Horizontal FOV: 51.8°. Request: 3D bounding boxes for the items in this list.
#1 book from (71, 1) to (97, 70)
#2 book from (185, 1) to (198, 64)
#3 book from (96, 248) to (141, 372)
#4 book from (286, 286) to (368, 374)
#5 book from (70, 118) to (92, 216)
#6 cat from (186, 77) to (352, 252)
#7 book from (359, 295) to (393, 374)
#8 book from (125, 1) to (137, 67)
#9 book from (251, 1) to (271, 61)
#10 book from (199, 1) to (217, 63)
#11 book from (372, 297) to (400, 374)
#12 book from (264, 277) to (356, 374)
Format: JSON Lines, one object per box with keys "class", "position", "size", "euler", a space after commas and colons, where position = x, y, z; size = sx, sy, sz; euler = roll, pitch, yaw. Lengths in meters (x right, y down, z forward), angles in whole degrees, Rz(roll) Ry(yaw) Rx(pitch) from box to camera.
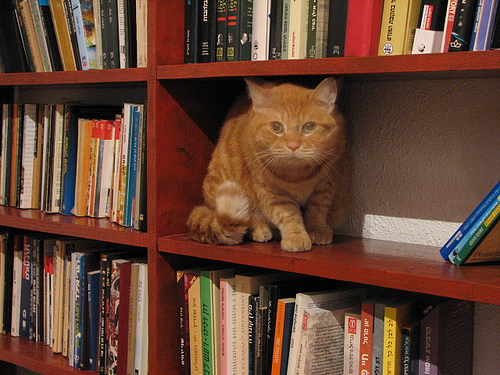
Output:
{"class": "book", "position": [-0.515, -0.467, 1.583], "size": [0.067, 0.201, 0.060], "euler": [-4, 16, -6]}
{"class": "book", "position": [-0.165, -0.432, 1.427], "size": [0.029, 0.136, 0.095], "euler": [3, 6, 7]}
{"class": "book", "position": [-0.392, 0.377, 1.527], "size": [0.146, 0.302, 0.286], "euler": [-2, -11, -2]}
{"class": "book", "position": [0.189, 0.364, 1.273], "size": [0.172, 0.181, 0.030], "euler": [-9, 14, -29]}
{"class": "book", "position": [-0.552, -0.061, 1.683], "size": [0.061, 0.303, 0.079], "euler": [5, 17, 25]}
{"class": "cat", "position": [0.064, -0.077, 1.582], "size": [0.463, 0.504, 0.447], "euler": [-5, 9, -18]}
{"class": "book", "position": [0.301, 0.357, 1.223], "size": [0.046, 0.145, 0.146], "euler": [6, 9, 17]}
{"class": "book", "position": [-0.353, -0.444, 1.498], "size": [0.037, 0.181, 0.030], "euler": [0, 16, 8]}
{"class": "book", "position": [0.028, -0.411, 1.350], "size": [0.055, 0.144, 0.031], "euler": [0, 16, 9]}
{"class": "book", "position": [-0.118, -0.422, 1.406], "size": [0.029, 0.139, 0.096], "euler": [3, 6, 15]}
{"class": "book", "position": [0.323, 0.355, 1.213], "size": [0.024, 0.197, 0.141], "euler": [2, -5, 24]}
{"class": "book", "position": [0.149, 0.359, 1.289], "size": [0.243, 0.250, 0.035], "euler": [-5, 6, -36]}
